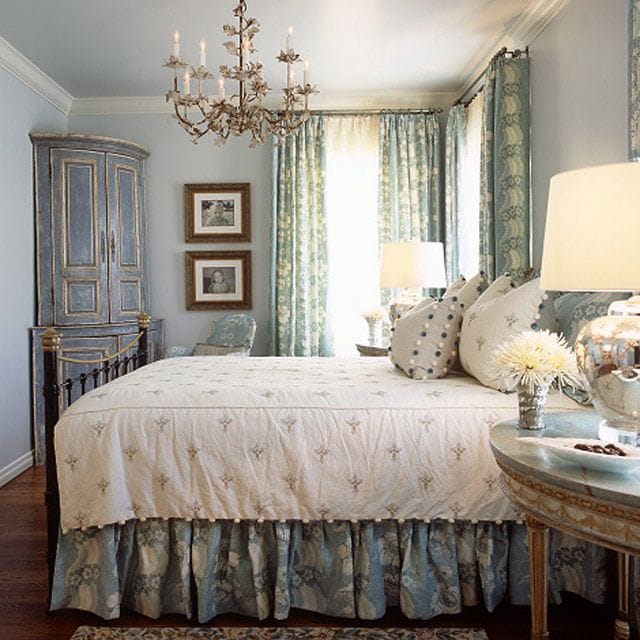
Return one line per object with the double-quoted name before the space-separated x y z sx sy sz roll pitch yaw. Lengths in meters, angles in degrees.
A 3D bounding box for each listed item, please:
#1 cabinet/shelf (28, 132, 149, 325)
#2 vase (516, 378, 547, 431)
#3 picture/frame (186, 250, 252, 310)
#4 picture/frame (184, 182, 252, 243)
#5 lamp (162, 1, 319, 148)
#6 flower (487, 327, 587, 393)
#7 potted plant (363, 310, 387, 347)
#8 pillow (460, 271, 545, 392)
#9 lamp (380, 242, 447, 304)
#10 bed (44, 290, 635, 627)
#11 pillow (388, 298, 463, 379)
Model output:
"cabinet/shelf" -1.612 -0.551 4.787 0.779 1.602 0.397 4 -20 -35
"vase" 0.662 0.266 2.051 0.111 0.190 0.116 0 1 -5
"picture/frame" -0.801 -0.339 5.233 0.400 0.408 0.033 0 0 1
"picture/frame" -0.804 -0.875 5.205 0.398 0.406 0.034 0 0 0
"lamp" -0.458 -1.491 3.901 0.773 1.011 0.783 8 14 36
"flower" 0.700 0.114 2.105 0.215 0.195 0.210 -3 2 -44
"potted plant" 0.378 0.069 4.708 0.196 0.339 0.213 0 -1 -1
"pillow" 0.731 0.051 2.768 0.249 0.508 0.472 13 3 -15
"lamp" 0.595 -0.280 4.215 0.417 0.397 0.442 5 -9 -21
"bed" -0.114 0.550 2.593 1.536 0.609 1.013 1 -3 3
"pillow" 0.464 0.089 2.831 0.306 0.315 0.100 -21 -19 34
